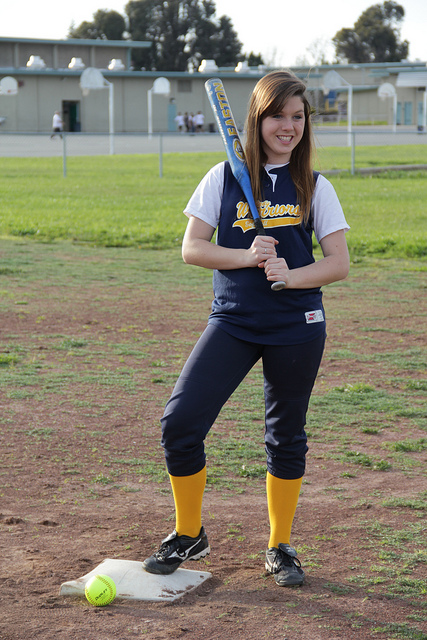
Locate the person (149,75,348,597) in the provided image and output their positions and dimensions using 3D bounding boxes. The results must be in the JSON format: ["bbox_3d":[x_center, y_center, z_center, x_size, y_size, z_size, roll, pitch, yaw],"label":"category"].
[{"bbox_3d":[0.136,0.069,3.096,0.633,1.884,0.616,4,15,7],"label":"person"}]

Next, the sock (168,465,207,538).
[{"bbox_3d":[-0.085,0.675,3.116,0.092,0.287,0.162,16,21,42],"label":"sock"}]

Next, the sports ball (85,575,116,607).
[{"bbox_3d":[-0.407,0.986,3.088,0.113,0.098,0.113,2,-1,0],"label":"sports ball"}]

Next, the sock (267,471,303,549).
[{"bbox_3d":[0.258,0.736,3.219,0.126,0.317,0.095,3,15,3],"label":"sock"}]
